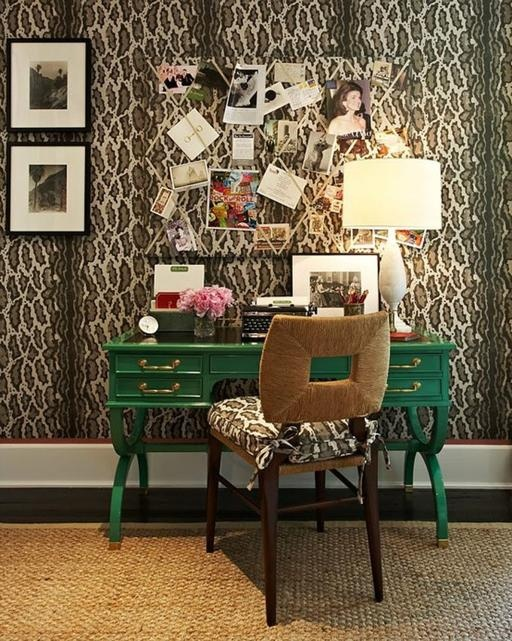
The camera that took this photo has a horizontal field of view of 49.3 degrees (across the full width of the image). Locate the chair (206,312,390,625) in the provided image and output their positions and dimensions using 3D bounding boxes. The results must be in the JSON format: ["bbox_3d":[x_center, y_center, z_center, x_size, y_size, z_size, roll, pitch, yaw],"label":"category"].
[{"bbox_3d":[0.152,0.390,1.721,0.471,0.848,0.551,-1,3,-22],"label":"chair"}]

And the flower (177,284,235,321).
[{"bbox_3d":[-0.201,-0.068,2.151,0.196,0.125,0.175,-1,3,-22],"label":"flower"}]

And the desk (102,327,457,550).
[{"bbox_3d":[0.083,0.416,2.208,1.237,0.714,0.492,0,5,-1],"label":"desk"}]

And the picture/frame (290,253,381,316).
[{"bbox_3d":[0.326,-0.162,2.428,0.300,0.220,0.012,0,-9,-2],"label":"picture/frame"}]

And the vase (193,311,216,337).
[{"bbox_3d":[-0.203,0.014,2.140,0.085,0.093,0.085,0,5,16],"label":"vase"}]

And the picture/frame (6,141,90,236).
[{"bbox_3d":[-0.925,-0.606,2.485,0.420,0.464,0.023,0,-1,-1],"label":"picture/frame"}]

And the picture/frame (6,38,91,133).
[{"bbox_3d":[-0.911,-1.049,2.456,0.421,0.435,0.029,0,5,2],"label":"picture/frame"}]

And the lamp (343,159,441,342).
[{"bbox_3d":[0.523,-0.291,2.211,0.386,0.667,0.241,1,3,15],"label":"lamp"}]
